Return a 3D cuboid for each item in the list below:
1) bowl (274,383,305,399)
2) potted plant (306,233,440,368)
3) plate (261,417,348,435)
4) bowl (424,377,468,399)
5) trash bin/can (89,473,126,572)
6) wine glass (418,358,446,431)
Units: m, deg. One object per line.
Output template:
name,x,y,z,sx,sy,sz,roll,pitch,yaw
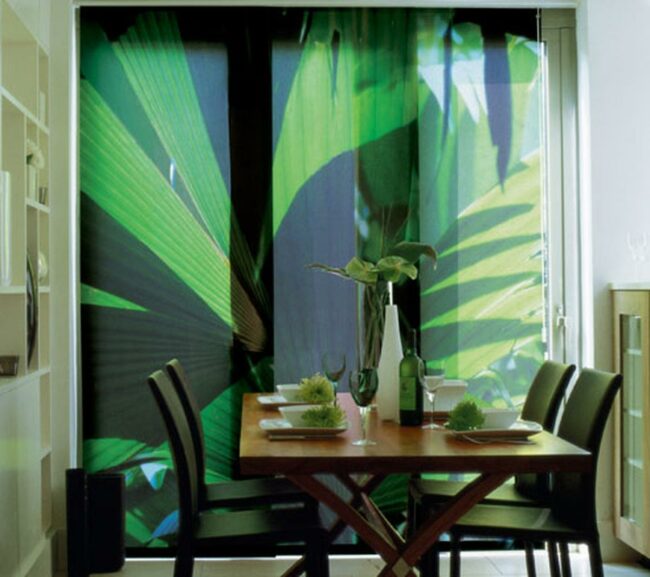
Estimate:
bowl,-0.149,0.449,2.689,0.124,0.074,0.177,0,-8,-2
potted plant,0.184,-0.007,2.691,0.434,0.712,0.606,4,-6,-14
plate,-0.066,0.472,2.132,0.326,0.037,0.201,-4,3,20
bowl,0.441,0.362,2.271,0.145,0.070,0.126,1,-4,0
trash bin/can,-1.126,1.237,3.198,0.190,0.374,0.085,-5,3,-25
wine glass,0.384,0.367,2.232,0.078,0.252,0.324,-3,3,9
